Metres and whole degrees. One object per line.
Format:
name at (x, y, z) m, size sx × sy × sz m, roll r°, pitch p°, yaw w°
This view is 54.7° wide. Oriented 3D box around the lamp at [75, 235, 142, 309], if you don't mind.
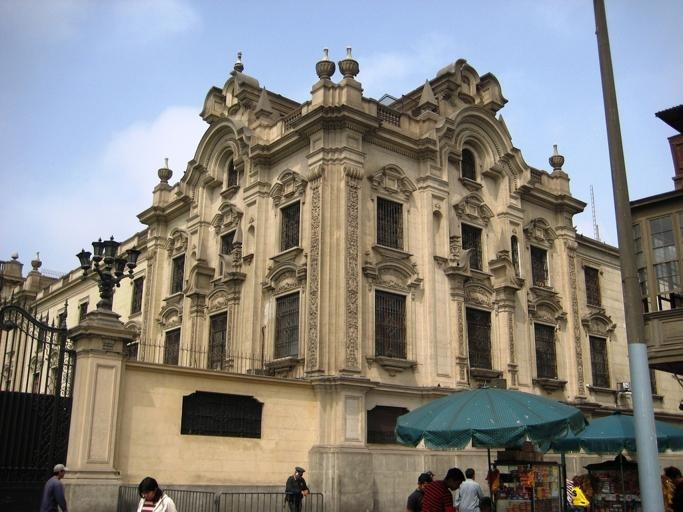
lamp at (-7.293, 0.531, 20.817) m, size 1.535 × 2.379 × 1.538 m, roll 11°, pitch -10°, yaw -14°
